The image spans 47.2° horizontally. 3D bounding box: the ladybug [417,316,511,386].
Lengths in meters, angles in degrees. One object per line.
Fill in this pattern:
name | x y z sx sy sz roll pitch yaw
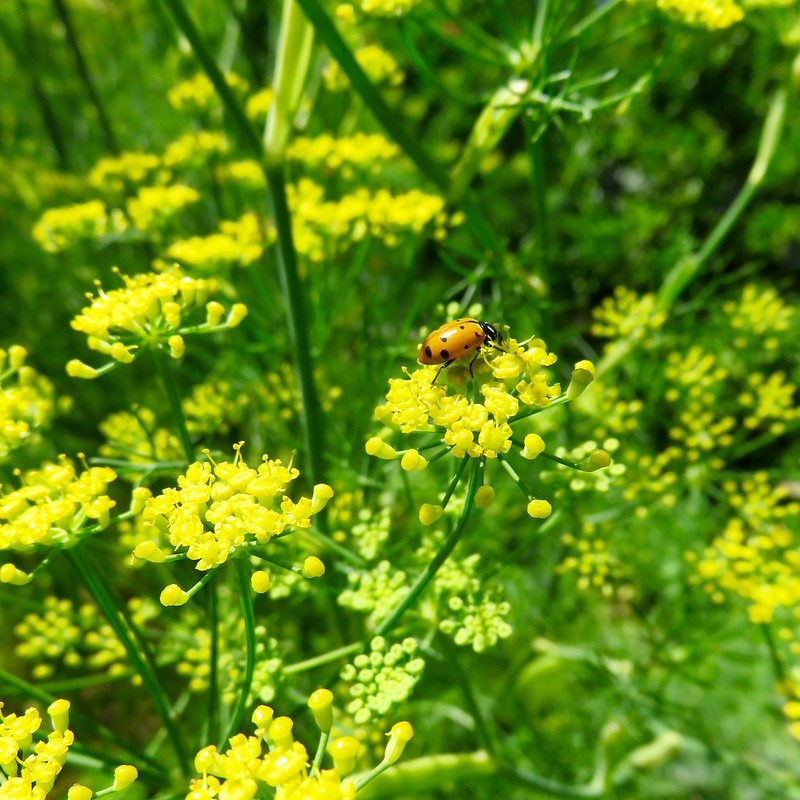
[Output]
ladybug | 0.096 -0.091 1.452 0.143 0.069 0.105 -13 25 -6
